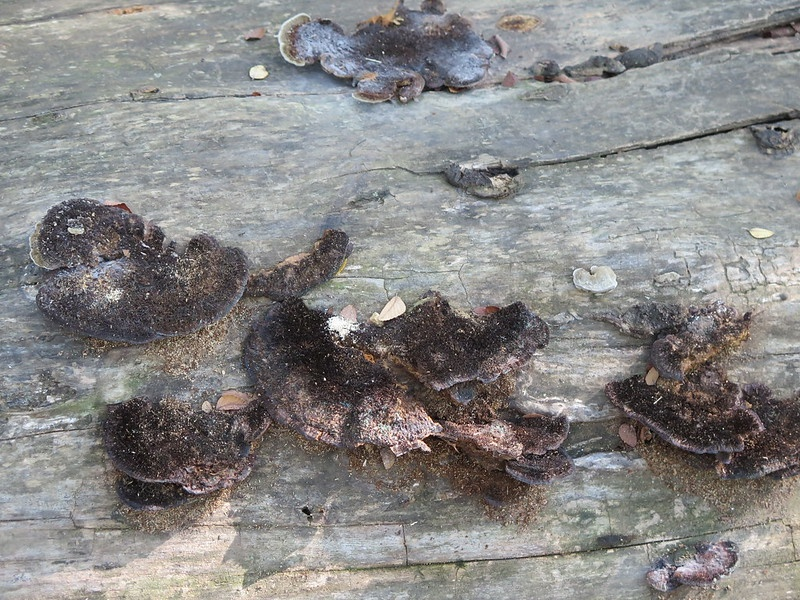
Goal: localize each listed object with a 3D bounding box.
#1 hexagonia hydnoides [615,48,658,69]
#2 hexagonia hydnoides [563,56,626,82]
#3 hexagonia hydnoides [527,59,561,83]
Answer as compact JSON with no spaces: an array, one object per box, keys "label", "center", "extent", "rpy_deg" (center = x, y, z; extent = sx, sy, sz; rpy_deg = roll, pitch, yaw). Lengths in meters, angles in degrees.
[{"label":"hexagonia hydnoides","center":[3.614,-3.626,15.759],"extent":[0.510,0.116,0.388],"rpy_deg":[-14,36,-11]},{"label":"hexagonia hydnoides","center":[2.915,-3.443,15.710],"extent":[0.824,0.195,0.402],"rpy_deg":[-3,28,4]},{"label":"hexagonia hydnoides","center":[2.167,-3.424,15.771],"extent":[0.392,0.156,0.530],"rpy_deg":[-24,46,-23]}]
